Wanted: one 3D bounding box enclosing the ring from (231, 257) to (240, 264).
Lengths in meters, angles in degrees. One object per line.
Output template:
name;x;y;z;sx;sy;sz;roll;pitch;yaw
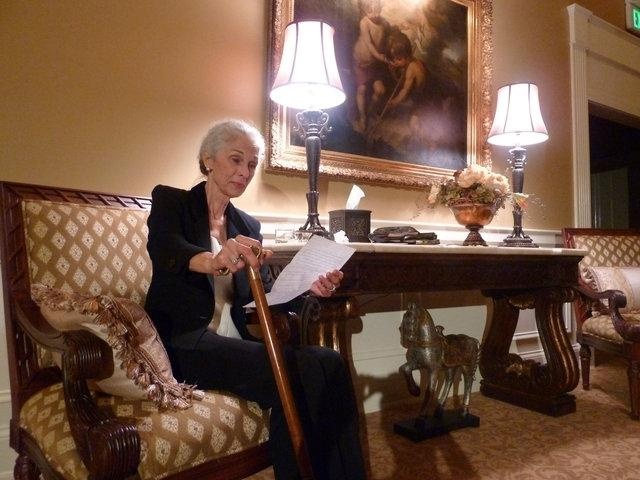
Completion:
ring;-0.302;0.074;1.724;0.021;0.021;0.008;34;27;-28

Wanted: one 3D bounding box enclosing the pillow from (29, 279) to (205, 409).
pillow;-0.792;0.414;1.871;0.673;0.419;0.264;1;4;18

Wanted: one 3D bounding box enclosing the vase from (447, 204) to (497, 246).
vase;1.084;-0.105;3.494;0.274;0.244;0.291;2;-10;-10

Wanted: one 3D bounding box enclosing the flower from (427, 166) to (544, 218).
flower;1.083;-0.339;3.470;0.462;0.277;0.451;7;-2;17
